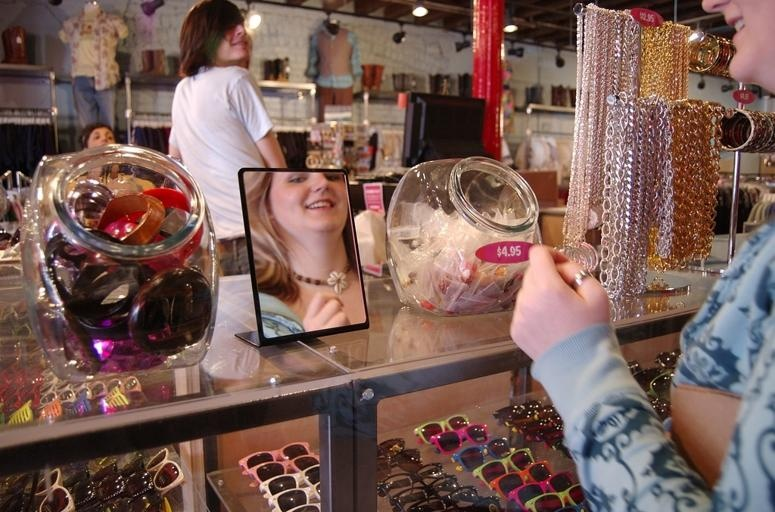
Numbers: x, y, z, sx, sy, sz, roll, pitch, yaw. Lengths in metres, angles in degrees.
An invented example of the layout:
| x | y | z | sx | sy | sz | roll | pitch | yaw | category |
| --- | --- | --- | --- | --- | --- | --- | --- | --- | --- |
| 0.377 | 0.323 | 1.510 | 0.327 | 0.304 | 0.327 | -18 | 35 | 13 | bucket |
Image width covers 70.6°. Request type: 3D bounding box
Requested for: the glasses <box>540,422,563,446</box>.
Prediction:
| x | y | z | sx | sy | sz | roll | pitch | yaw | category |
| --- | --- | --- | --- | --- | --- | --- | --- | --- | --- |
| 0.390 | 0.423 | 1.291 | 0.045 | 0.044 | 0.012 | 2 | -14 | -15 | glasses |

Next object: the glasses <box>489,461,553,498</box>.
| x | y | z | sx | sy | sz | roll | pitch | yaw | category |
| --- | --- | --- | --- | --- | --- | --- | --- | --- | --- |
| 0.308 | 0.502 | 1.237 | 0.078 | 0.028 | 0.083 | -18 | -16 | -28 | glasses |

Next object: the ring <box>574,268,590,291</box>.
| x | y | z | sx | sy | sz | roll | pitch | yaw | category |
| --- | --- | --- | --- | --- | --- | --- | --- | --- | --- |
| 0.279 | 0.032 | 0.794 | 0.025 | 0.025 | 0.025 | -11 | 28 | 6 | ring |

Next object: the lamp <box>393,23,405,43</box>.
| x | y | z | sx | sy | sz | roll | pitch | yaw | category |
| --- | --- | --- | --- | --- | --- | --- | --- | --- | --- |
| 0.146 | -2.705 | 6.644 | 0.177 | 0.248 | 0.248 | 0 | 13 | 0 | lamp |

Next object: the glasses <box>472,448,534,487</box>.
| x | y | z | sx | sy | sz | roll | pitch | yaw | category |
| --- | --- | --- | --- | --- | --- | --- | --- | --- | --- |
| 0.282 | 0.509 | 1.307 | 0.135 | 0.048 | 0.149 | -22 | -29 | -1 | glasses |

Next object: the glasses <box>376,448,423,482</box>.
| x | y | z | sx | sy | sz | roll | pitch | yaw | category |
| --- | --- | --- | --- | --- | --- | --- | --- | --- | --- |
| 0.020 | 0.428 | 1.132 | 0.086 | 0.088 | 0.027 | 12 | 29 | -42 | glasses |

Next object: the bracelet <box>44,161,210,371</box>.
| x | y | z | sx | sy | sz | roll | pitch | yaw | category |
| --- | --- | --- | --- | --- | --- | --- | --- | --- | --- |
| -0.375 | 0.000 | 0.901 | 0.255 | 0.341 | 0.305 | -3 | 4 | -36 | bracelet |

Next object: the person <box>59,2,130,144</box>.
| x | y | z | sx | sy | sz | roll | pitch | yaw | category |
| --- | --- | --- | --- | --- | --- | --- | --- | --- | --- |
| -2.743 | -1.813 | 5.205 | 0.589 | 1.144 | 0.297 | -7 | 15 | -29 | person |

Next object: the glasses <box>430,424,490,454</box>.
| x | y | z | sx | sy | sz | roll | pitch | yaw | category |
| --- | --- | --- | --- | --- | --- | --- | --- | --- | --- |
| 0.164 | 0.398 | 1.227 | 0.078 | 0.028 | 0.085 | -8 | -11 | -27 | glasses |

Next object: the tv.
| x | y | z | sx | sy | sz | roll | pitch | yaw | category |
| --- | --- | --- | --- | --- | --- | --- | --- | --- | --- |
| 0.220 | -0.409 | 1.879 | 0.295 | 0.289 | 0.191 | 0 | 12 | -19 | tv |

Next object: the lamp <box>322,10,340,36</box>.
| x | y | z | sx | sy | sz | roll | pitch | yaw | category |
| --- | --- | --- | --- | --- | --- | --- | --- | --- | --- |
| -0.626 | -2.661 | 6.264 | 0.210 | 0.271 | 0.112 | -5 | 14 | -23 | lamp |

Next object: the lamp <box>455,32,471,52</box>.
| x | y | z | sx | sy | sz | roll | pitch | yaw | category |
| --- | --- | --- | --- | --- | --- | --- | --- | --- | --- |
| 0.965 | -2.710 | 6.965 | 0.223 | 0.113 | 0.320 | -4 | -31 | 7 | lamp |

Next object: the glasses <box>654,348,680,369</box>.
| x | y | z | sx | sy | sz | roll | pitch | yaw | category |
| --- | --- | --- | --- | --- | --- | --- | --- | --- | --- |
| 0.668 | 0.246 | 1.318 | 0.056 | 0.046 | 0.017 | -10 | 34 | 27 | glasses |

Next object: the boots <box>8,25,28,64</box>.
| x | y | z | sx | sy | sz | roll | pitch | yaw | category |
| --- | --- | --- | --- | --- | --- | --- | --- | --- | --- |
| -3.360 | -1.914 | 4.985 | 0.172 | 0.319 | 0.111 | -9 | 16 | -36 | boots |

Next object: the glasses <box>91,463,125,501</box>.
| x | y | z | sx | sy | sz | roll | pitch | yaw | category |
| --- | --- | --- | --- | --- | --- | --- | --- | --- | --- |
| -0.509 | 0.415 | 1.004 | 0.023 | 0.056 | 0.076 | 0 | 12 | 19 | glasses |

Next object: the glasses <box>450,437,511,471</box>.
| x | y | z | sx | sy | sz | roll | pitch | yaw | category |
| --- | --- | --- | --- | --- | --- | --- | --- | --- | --- |
| 0.197 | 0.448 | 1.262 | 0.077 | 0.027 | 0.083 | -26 | 4 | 44 | glasses |
